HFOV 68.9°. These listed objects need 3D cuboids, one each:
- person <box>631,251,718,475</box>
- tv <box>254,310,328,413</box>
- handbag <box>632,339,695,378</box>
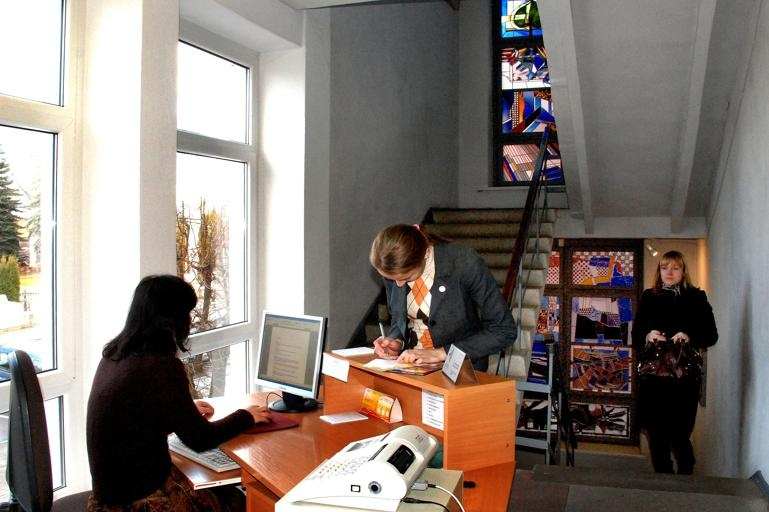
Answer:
[{"bbox_3d":[2.495,0.924,4.845,0.644,1.926,0.407,0,0,23],"label":"person"},{"bbox_3d":[-0.629,0.656,3.460,0.296,0.563,0.591,6,-13,30],"label":"tv"},{"bbox_3d":[2.432,0.871,4.779,0.398,0.213,0.525,-14,21,40],"label":"handbag"}]
